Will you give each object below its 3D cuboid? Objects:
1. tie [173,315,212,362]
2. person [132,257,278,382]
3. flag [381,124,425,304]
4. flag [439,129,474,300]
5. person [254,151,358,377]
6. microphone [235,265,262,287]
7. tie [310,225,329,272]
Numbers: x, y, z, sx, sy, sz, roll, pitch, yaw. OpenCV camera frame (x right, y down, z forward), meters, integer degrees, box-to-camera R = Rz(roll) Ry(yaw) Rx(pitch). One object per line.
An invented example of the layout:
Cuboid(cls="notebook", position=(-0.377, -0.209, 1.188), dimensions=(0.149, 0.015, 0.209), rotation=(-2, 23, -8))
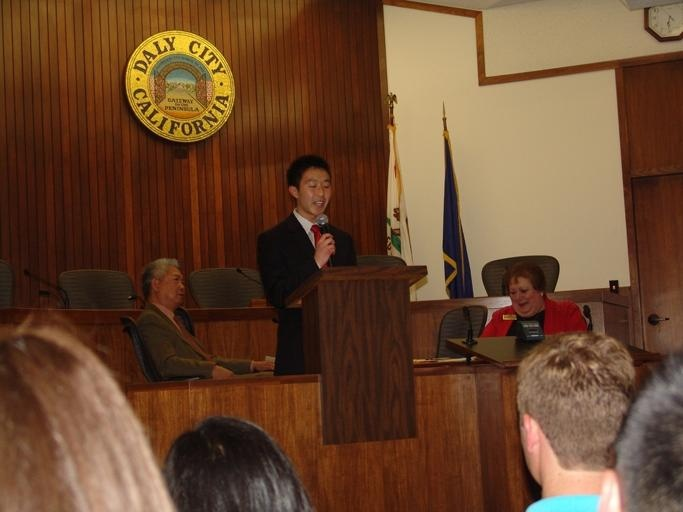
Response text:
Cuboid(cls="tie", position=(-0.816, 0.441, 3.815), dimensions=(0.094, 0.298, 0.199), rotation=(-22, -20, 26))
Cuboid(cls="person", position=(-0.716, 0.374, 3.629), dimensions=(0.612, 0.795, 0.628), rotation=(-3, -4, -8))
Cuboid(cls="flag", position=(0.583, -0.456, 6.962), dimensions=(0.292, 1.726, 1.118), rotation=(-1, 0, 4))
Cuboid(cls="flag", position=(1.114, -0.431, 6.933), dimensions=(0.261, 1.641, 0.517), rotation=(-1, 0, 8))
Cuboid(cls="person", position=(-0.144, 0.006, 2.734), dimensions=(0.392, 0.832, 0.810), rotation=(-1, 0, 0))
Cuboid(cls="microphone", position=(-0.810, 0.234, 6.210), dimensions=(0.186, 0.055, 0.211), rotation=(24, 1, 23))
Cuboid(cls="tie", position=(-0.092, -0.051, 2.832), dimensions=(0.044, 0.247, 0.046), rotation=(16, -49, -24))
